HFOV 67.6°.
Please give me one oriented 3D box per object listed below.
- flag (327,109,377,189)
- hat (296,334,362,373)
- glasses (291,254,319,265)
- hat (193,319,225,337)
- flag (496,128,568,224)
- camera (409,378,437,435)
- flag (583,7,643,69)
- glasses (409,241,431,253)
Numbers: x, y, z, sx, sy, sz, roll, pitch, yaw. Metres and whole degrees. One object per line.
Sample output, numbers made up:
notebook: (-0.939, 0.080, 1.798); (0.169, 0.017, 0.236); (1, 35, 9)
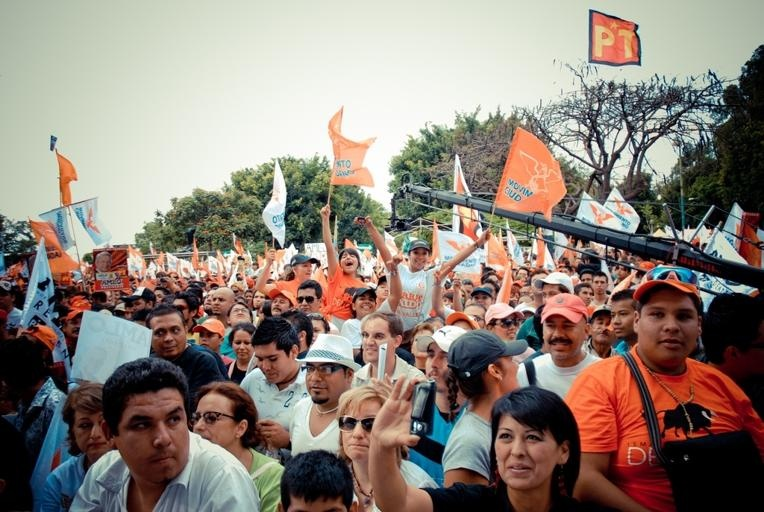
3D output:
flag: (-0.671, -2.009, 11.021); (0.958, 1.670, 0.714); (-14, -15, 35)
hat: (-0.536, 0.938, 5.967); (0.647, 0.272, 0.564); (6, 3, -8)
glasses: (-1.387, 0.056, 9.737); (0.202, 0.137, 0.315); (2, -10, -41)
hat: (-2.315, 0.952, 7.887); (0.258, 0.200, 0.375); (-7, -28, 30)
flag: (2.549, -1.378, 9.547); (1.085, 1.522, 0.166); (15, -17, 16)
camera: (0.294, 1.098, 4.115); (0.184, 0.385, 0.332); (-6, -13, 7)
flag: (5.098, -4.775, 12.484); (1.320, 1.202, 0.186); (-2, 4, -16)
glasses: (0.570, -0.141, 8.860); (0.229, 0.140, 0.340); (7, -9, -1)
